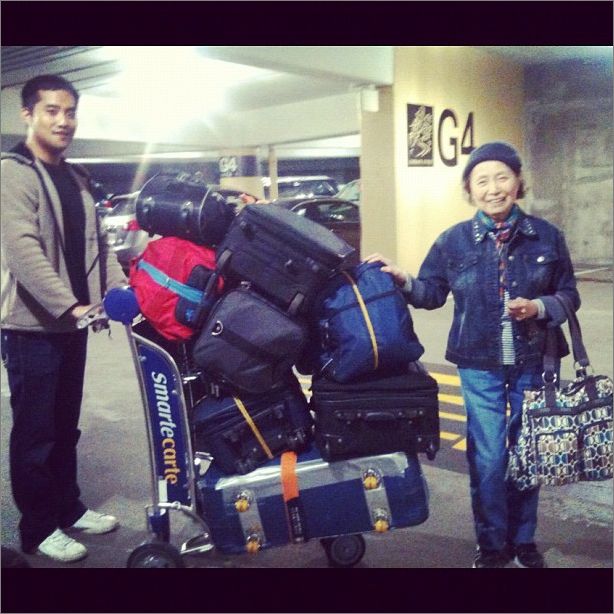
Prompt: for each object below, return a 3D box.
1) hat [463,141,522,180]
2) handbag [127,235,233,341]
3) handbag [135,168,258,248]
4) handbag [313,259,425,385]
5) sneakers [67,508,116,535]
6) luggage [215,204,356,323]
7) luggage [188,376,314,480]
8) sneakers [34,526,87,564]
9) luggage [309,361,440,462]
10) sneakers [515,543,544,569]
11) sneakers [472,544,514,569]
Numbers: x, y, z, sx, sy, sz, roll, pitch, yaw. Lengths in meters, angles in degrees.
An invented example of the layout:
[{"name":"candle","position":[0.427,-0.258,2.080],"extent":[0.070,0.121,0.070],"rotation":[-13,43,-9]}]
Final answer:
[{"name":"hat","position":[0.705,-0.554,2.501],"extent":[0.215,0.130,0.107],"rotation":[1,3,10]},{"name":"handbag","position":[-0.475,-0.064,2.544],"extent":[0.464,0.314,0.395],"rotation":[9,-5,9]},{"name":"handbag","position":[-0.425,-0.356,2.545],"extent":[0.400,0.234,0.304],"rotation":[16,37,14]},{"name":"handbag","position":[0.203,0.063,2.368],"extent":[0.552,0.401,0.270],"rotation":[-9,-7,-18]},{"name":"sneakers","position":[-0.960,0.968,2.973],"extent":[0.211,0.061,0.087],"rotation":[2,4,-8]},{"name":"luggage","position":[-0.089,-0.159,2.510],"extent":[0.584,0.349,0.437],"rotation":[26,15,-4]},{"name":"luggage","position":[-0.199,0.453,2.460],"extent":[0.488,0.294,0.189],"rotation":[-17,6,-3]},{"name":"sneakers","position":[-1.048,1.021,2.851],"extent":[0.254,0.084,0.099],"rotation":[5,32,8]},{"name":"luggage","position":[0.258,0.377,2.527],"extent":[0.496,0.231,0.354],"rotation":[-2,-1,-2]},{"name":"sneakers","position":[0.885,0.989,2.633],"extent":[0.093,0.042,0.127],"rotation":[0,9,2]},{"name":"sneakers","position":[0.740,0.996,2.666],"extent":[0.156,0.084,0.040],"rotation":[7,25,-3]}]
